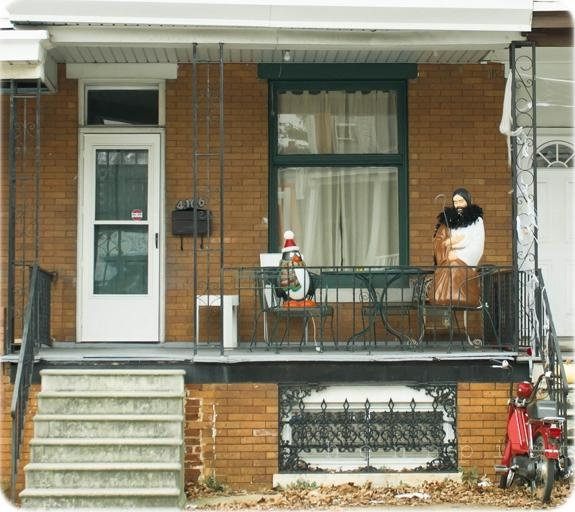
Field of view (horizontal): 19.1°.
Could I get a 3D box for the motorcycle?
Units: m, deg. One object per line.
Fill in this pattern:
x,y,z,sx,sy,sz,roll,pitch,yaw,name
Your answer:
2.475,1.754,17.410,0.628,1.408,1.009,0,-3,-20,motorcycle

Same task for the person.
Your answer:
1.834,-0.092,18.296,0.549,1.274,0.880,-2,-3,7,person
